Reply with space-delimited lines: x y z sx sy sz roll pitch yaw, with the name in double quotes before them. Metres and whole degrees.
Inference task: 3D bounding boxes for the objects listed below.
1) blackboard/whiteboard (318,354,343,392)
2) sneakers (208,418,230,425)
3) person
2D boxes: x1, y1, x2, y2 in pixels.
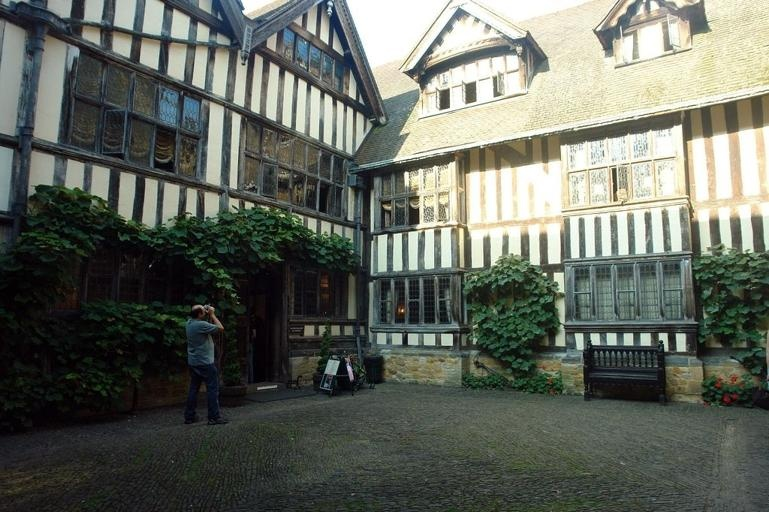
"blackboard/whiteboard" -1.504 3.244 16.588 0.623 0.944 0.824 1 3 11
"sneakers" -3.538 3.506 13.008 0.385 0.159 0.149 3 -6 -20
"person" -3.974 2.338 13.382 0.822 2.605 1.400 -1 3 -18
